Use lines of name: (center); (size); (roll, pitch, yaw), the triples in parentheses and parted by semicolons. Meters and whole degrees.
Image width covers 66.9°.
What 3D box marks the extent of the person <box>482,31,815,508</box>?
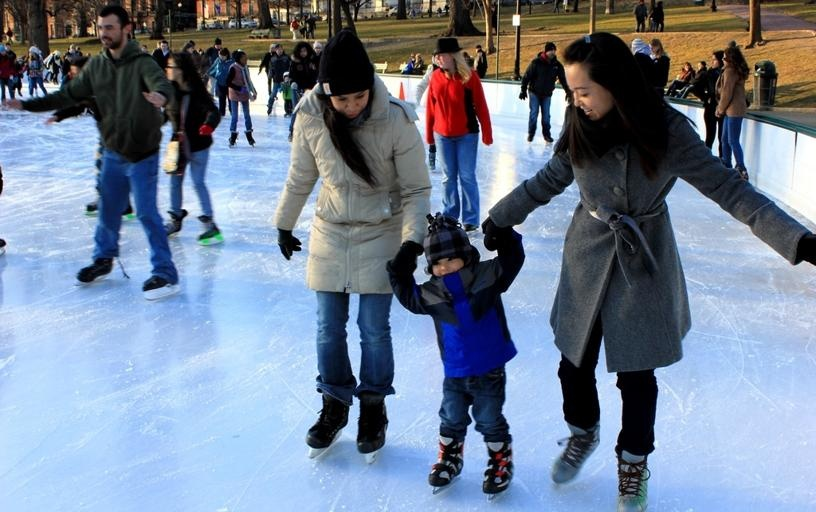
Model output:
person: (1.089, 0.124, 3.109); (1.378, 2.377, 0.551); (7, 22, 29)

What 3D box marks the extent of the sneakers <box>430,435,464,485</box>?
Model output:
sneakers: (0.219, 1.137, 3.376); (0.122, 0.233, 0.346); (-2, -6, 20)

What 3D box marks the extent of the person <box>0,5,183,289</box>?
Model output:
person: (-2.380, -0.875, 5.301); (1.081, 2.394, 0.634); (2, 20, 18)

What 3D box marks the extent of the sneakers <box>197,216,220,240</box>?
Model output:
sneakers: (-2.141, -0.296, 6.589); (0.231, 0.247, 0.205); (-5, 19, -4)

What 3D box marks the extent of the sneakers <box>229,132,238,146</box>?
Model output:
sneakers: (-3.257, -2.262, 11.584); (0.125, 0.217, 0.398); (8, 53, -12)

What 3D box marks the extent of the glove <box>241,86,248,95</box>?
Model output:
glove: (-3.214, -3.270, 12.208); (0.148, 0.140, 0.112); (24, 30, 28)

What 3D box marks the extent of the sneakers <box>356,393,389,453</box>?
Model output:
sneakers: (-0.195, 0.982, 3.588); (0.141, 0.152, 0.376); (-2, 15, 3)

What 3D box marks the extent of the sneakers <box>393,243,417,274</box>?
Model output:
sneakers: (-0.015, 0.015, 3.328); (0.094, 0.161, 0.129); (17, -5, 34)

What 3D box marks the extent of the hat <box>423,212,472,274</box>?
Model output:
hat: (0.227, -0.066, 3.312); (0.278, 0.334, 0.221); (-3, 19, 3)

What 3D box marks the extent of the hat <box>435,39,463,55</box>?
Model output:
hat: (0.429, -2.285, 6.724); (0.266, 0.164, 0.567); (-1, 18, 9)

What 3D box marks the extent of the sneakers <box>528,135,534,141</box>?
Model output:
sneakers: (2.463, -2.321, 12.223); (0.150, 0.139, 0.091); (1, 13, 11)

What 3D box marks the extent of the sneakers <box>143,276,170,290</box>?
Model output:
sneakers: (-2.195, 0.239, 5.390); (0.100, 0.094, 0.224); (-5, -5, 11)
